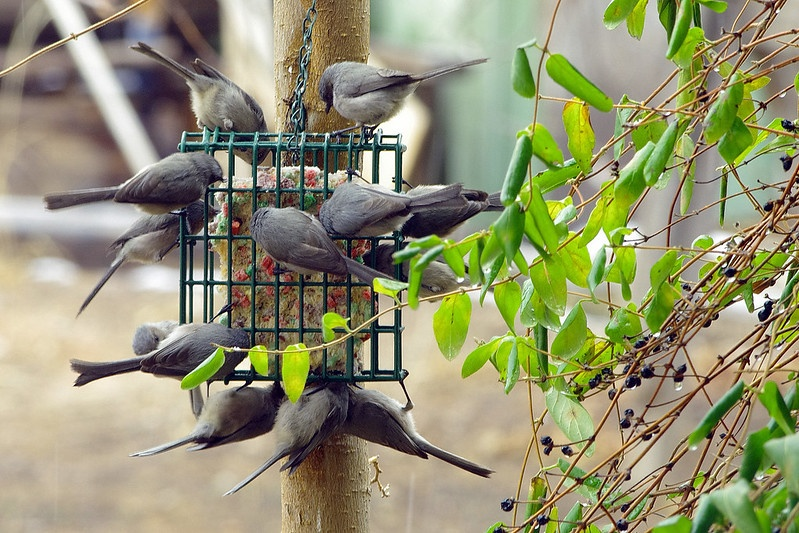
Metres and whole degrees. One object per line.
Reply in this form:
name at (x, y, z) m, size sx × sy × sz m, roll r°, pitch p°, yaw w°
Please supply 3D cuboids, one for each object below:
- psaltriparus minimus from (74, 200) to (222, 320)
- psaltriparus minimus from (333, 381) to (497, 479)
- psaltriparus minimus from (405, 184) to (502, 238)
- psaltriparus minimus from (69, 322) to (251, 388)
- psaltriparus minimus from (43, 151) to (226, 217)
psaltriparus minimus at (-1.635, -0.199, 8.467) m, size 0.338 × 0.418 × 0.963 m, roll 38°, pitch -73°, yaw -28°
psaltriparus minimus at (0.120, 1.297, 9.751) m, size 1.410 × 0.607 × 0.394 m, roll 19°, pitch -40°, yaw -3°
psaltriparus minimus at (0.328, -0.332, 8.272) m, size 0.830 × 0.365 × 0.294 m, roll -8°, pitch -99°, yaw 3°
psaltriparus minimus at (-1.478, 0.579, 7.958) m, size 1.092 × 0.275 × 0.296 m, roll -10°, pitch -58°, yaw -6°
psaltriparus minimus at (-1.663, -0.521, 8.121) m, size 1.066 × 0.362 × 0.317 m, roll -10°, pitch -58°, yaw -6°
